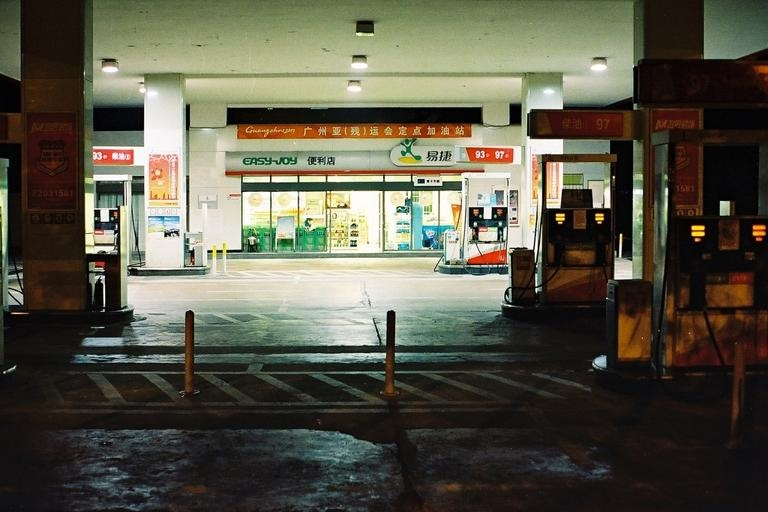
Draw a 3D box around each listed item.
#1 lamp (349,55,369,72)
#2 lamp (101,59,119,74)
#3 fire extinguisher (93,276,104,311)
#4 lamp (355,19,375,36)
[{"bbox_3d":[-0.769,-5.866,23.083,0.451,0.233,0.408,0,-2,3],"label":"lamp"},{"bbox_3d":[-8.616,-5.893,23.684,0.449,0.259,0.425,1,-1,-33],"label":"lamp"},{"bbox_3d":[-5.885,0.803,15.568,0.171,0.621,0.349,-1,12,-7],"label":"fire extinguisher"},{"bbox_3d":[-0.514,-5.984,19.977,0.391,0.313,0.358,2,-1,6],"label":"lamp"}]
